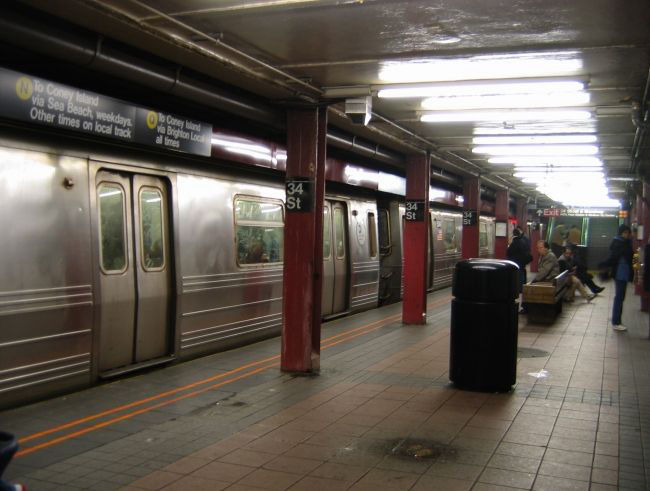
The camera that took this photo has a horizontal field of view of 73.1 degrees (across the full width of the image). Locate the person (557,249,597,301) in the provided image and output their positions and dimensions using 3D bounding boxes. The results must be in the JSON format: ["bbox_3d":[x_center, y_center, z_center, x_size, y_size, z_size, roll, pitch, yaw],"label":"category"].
[{"bbox_3d":[8.865,0.901,15.191,0.826,1.700,1.402,-19,16,-26],"label":"person"}]

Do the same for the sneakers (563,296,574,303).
[{"bbox_3d":[8.577,1.890,15.382,0.423,0.136,0.164,-8,-15,-1],"label":"sneakers"}]

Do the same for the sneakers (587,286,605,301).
[{"bbox_3d":[10.387,1.830,16.795,0.214,0.286,0.678,10,23,42],"label":"sneakers"}]

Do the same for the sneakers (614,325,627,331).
[{"bbox_3d":[6.927,1.915,10.247,0.270,0.113,0.107,1,6,24],"label":"sneakers"}]

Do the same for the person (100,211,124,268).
[{"bbox_3d":[-2.922,-0.070,6.076,0.114,0.794,0.345,0,0,22],"label":"person"}]

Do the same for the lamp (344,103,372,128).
[{"bbox_3d":[0.477,-1.929,6.408,0.282,0.341,0.520,0,6,9],"label":"lamp"}]
